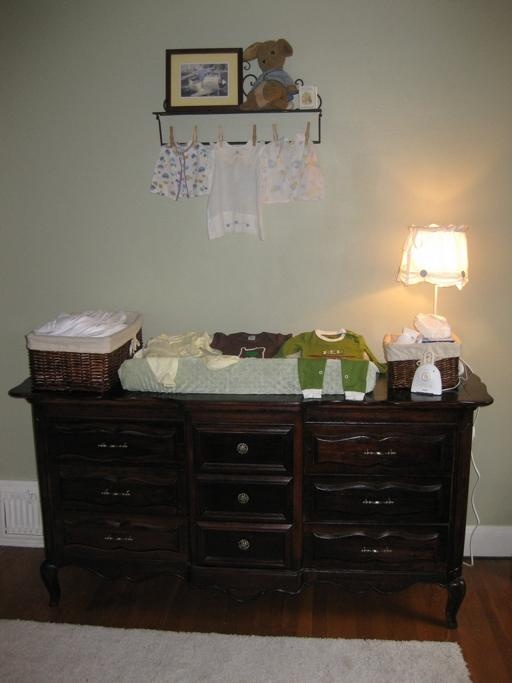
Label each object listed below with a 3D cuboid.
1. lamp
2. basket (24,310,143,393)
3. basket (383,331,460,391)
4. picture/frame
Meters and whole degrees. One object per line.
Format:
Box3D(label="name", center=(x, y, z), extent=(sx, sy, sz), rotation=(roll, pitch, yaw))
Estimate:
Box3D(label="lamp", center=(0.663, -0.322, 2.538), extent=(0.253, 0.223, 0.126), rotation=(7, 14, 19))
Box3D(label="basket", center=(-0.649, 0.037, 2.551), extent=(0.248, 0.128, 0.342), rotation=(1, 14, 1))
Box3D(label="basket", center=(0.651, 0.090, 2.573), extent=(0.330, 0.169, 0.327), rotation=(3, -9, -37))
Box3D(label="picture/frame", center=(-0.197, -1.063, 2.724), extent=(0.304, 0.196, 0.011), rotation=(0, 10, 3))
